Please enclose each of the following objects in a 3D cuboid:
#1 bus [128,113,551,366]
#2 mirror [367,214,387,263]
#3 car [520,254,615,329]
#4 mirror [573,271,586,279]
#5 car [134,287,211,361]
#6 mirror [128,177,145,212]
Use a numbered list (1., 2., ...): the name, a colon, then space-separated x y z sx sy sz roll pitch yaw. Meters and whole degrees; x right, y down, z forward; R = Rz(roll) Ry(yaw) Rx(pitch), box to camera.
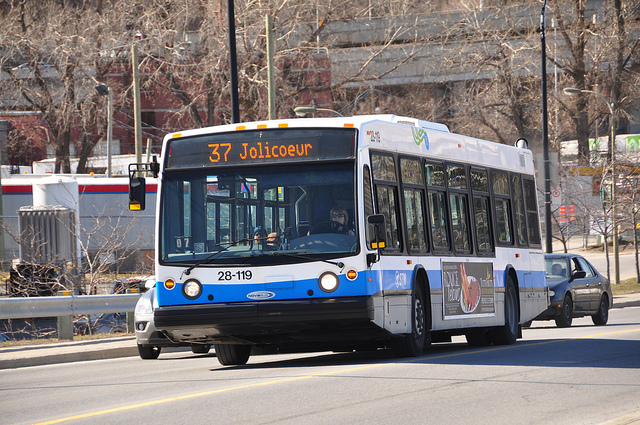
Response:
1. bus: 1.589 0.647 24.634 4.667 5.342 13.625 -4 -4 28
2. mirror: 1.108 0.494 18.890 0.353 0.800 0.532 -1 0 3
3. car: 7.602 2.367 29.514 1.879 1.418 3.833 -6 -8 32
4. mirror: 7.758 1.837 29.091 0.318 0.170 0.459 -1 0 22
5. car: -3.584 2.684 23.022 1.305 1.417 2.913 -2 -7 7
6. mirror: -3.687 -0.316 19.751 0.432 0.730 0.436 2 -17 -14
